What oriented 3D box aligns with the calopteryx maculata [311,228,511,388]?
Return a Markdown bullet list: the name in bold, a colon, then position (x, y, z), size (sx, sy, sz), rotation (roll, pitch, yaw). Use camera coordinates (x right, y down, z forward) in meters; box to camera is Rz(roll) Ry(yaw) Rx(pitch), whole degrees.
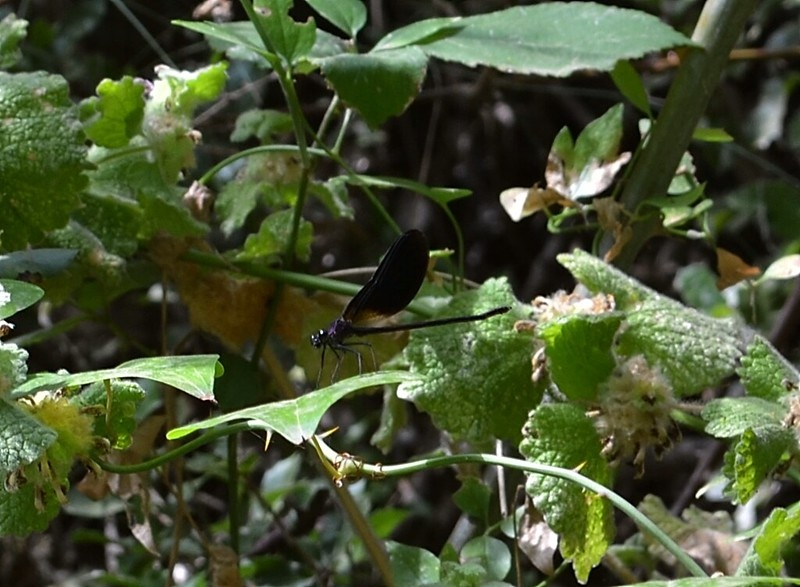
- **calopteryx maculata**: position (0.013, 0.012, 1.255), size (0.240, 0.229, 0.143), rotation (-8, 65, -5)
